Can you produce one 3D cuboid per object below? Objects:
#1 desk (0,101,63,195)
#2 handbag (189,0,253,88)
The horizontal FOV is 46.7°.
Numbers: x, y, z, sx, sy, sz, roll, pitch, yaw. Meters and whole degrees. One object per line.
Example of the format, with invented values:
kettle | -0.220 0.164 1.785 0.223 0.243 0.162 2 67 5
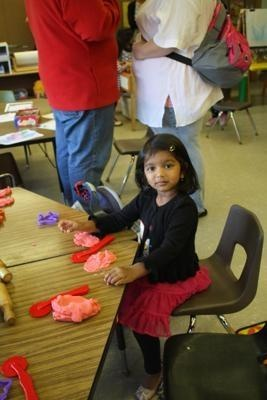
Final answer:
desk | -0.920 -0.470 2.808 0.513 0.496 0.985 -8 36 -7
handbag | 0.616 -0.967 2.301 0.408 0.758 0.761 3 28 17
